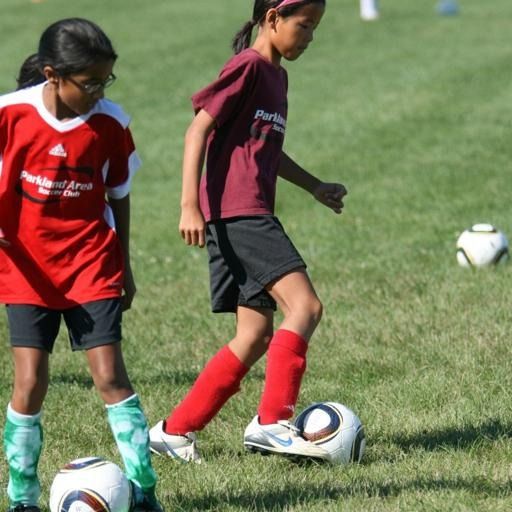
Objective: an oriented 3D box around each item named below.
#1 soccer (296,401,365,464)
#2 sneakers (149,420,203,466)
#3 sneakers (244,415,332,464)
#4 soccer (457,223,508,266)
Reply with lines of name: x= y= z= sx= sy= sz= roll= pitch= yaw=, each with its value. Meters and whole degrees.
soccer: x=0.305 y=0.729 z=3.630 sx=0.205 sy=0.234 sz=0.263 roll=2 pitch=-13 yaw=8
sneakers: x=-0.358 y=0.819 z=3.846 sx=0.286 sy=0.137 sz=0.110 roll=16 pitch=-3 yaw=13
sneakers: x=0.149 y=0.785 z=3.725 sx=0.403 sy=0.178 sz=0.148 roll=7 pitch=-19 yaw=6
soccer: x=1.719 y=-0.112 z=6.618 sx=0.304 sy=0.366 sz=0.326 roll=-1 pitch=5 yaw=1
